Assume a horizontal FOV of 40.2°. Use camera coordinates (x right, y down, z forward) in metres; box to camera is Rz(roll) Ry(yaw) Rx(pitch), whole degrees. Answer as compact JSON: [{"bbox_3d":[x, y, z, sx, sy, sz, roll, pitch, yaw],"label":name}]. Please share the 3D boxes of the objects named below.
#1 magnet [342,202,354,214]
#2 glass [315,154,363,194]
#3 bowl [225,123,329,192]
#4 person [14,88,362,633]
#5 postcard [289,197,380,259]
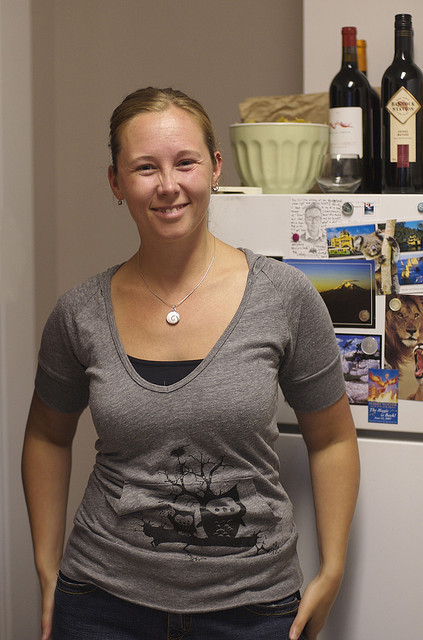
[{"bbox_3d":[0.242,-0.200,1.029,0.020,0.018,0.005,8,11,29],"label":"magnet"},{"bbox_3d":[0.245,-0.279,1.099,0.098,0.076,0.100,7,16,27],"label":"glass"},{"bbox_3d":[0.134,-0.325,1.191,0.180,0.108,0.164,1,9,0],"label":"bowl"},{"bbox_3d":[-0.088,0.093,0.854,0.545,0.833,0.270,0,5,21],"label":"person"},{"bbox_3d":[0.228,-0.167,1.037,0.156,0.107,0.009,-1,5,-3],"label":"postcard"}]
